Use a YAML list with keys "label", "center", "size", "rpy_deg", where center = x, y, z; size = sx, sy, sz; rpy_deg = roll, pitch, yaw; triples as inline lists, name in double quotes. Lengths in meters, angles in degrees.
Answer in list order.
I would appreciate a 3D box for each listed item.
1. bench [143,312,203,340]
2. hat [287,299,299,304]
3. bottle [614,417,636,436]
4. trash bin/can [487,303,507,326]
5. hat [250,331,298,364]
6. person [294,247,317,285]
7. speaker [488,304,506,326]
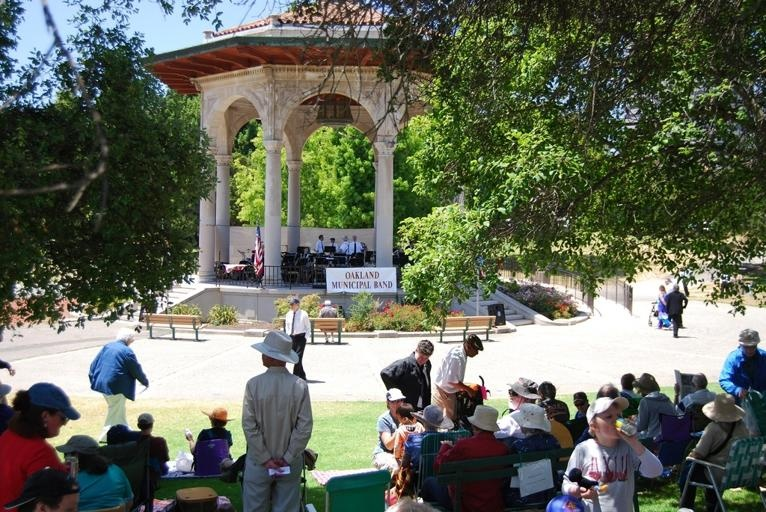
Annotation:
- label: "bench"
  center: [-6.551, 2.220, 24.534]
  size: [1.588, 0.794, 2.147]
  rpy_deg: [2, -3, -15]
- label: "hat"
  center: [-2.012, 1.048, 17.835]
  size: [0.215, 0.085, 0.240]
  rpy_deg: [1, -6, 5]
- label: "bottle"
  center: [2.704, 1.944, 8.693]
  size: [0.151, 0.179, 0.282]
  rpy_deg: [5, 5, -15]
- label: "trash bin/can"
  center: [3.937, 2.075, 27.170]
  size: [0.542, 0.754, 0.269]
  rpy_deg: [3, -17, -28]
- label: "hat"
  center: [-1.317, 1.206, 9.548]
  size: [0.473, 0.213, 0.456]
  rpy_deg: [31, 11, 9]
- label: "person"
  center: [-3.207, 0.405, 30.888]
  size: [0.729, 1.443, 1.372]
  rpy_deg: [-9, 5, -6]
- label: "speaker"
  center: [3.930, 2.072, 27.063]
  size: [0.527, 0.738, 0.286]
  rpy_deg: [3, -16, -26]
